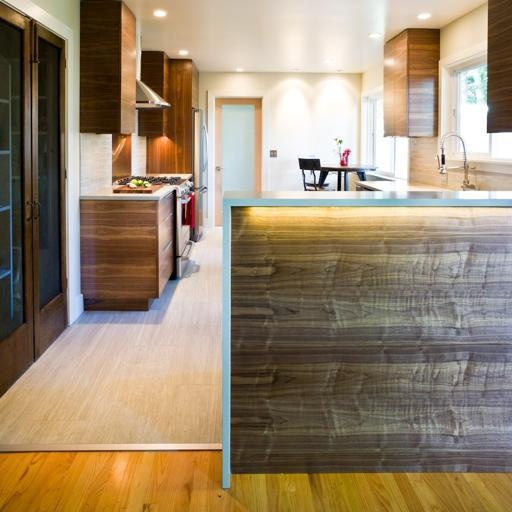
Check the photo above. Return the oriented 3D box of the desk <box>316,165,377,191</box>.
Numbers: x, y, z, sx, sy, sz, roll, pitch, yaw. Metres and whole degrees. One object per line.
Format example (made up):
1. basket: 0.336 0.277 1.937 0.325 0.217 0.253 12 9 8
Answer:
1. desk: 1.333 -1.183 6.722 0.774 0.391 1.745 0 12 8

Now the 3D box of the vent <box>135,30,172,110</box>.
1. vent: -1.199 -2.059 4.991 0.347 0.792 1.345 -4 12 -12

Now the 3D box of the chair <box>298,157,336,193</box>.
1. chair: 0.912 -1.320 7.220 0.352 0.609 0.445 6 25 18

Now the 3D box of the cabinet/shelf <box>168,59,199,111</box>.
1. cabinet/shelf: -1.114 -2.609 6.790 0.326 0.723 0.715 -1 12 4

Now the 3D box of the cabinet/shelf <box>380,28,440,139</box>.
1. cabinet/shelf: 1.721 -1.918 4.869 0.392 1.133 1.182 -1 9 -1
